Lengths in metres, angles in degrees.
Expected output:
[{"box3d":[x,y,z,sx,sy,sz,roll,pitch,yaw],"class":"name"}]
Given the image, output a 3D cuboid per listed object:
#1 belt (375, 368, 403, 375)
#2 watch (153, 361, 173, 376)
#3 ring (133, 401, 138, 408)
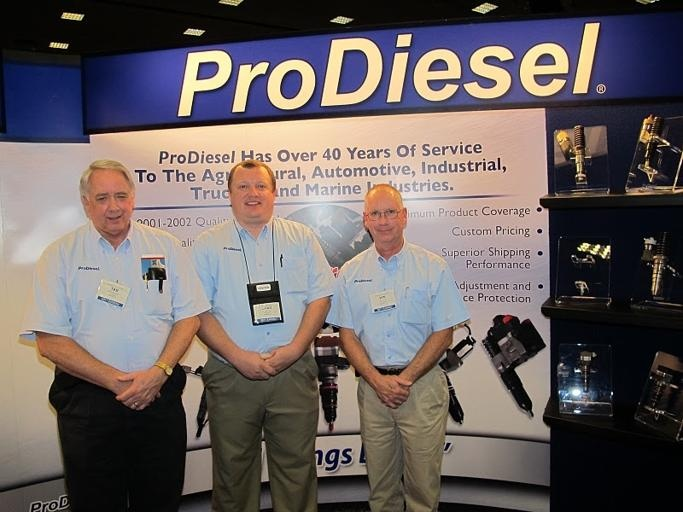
[{"box3d":[0.290,0.691,3.284,0.151,0.034,0.044,1,6,14],"class":"belt"},{"box3d":[-0.977,0.616,3.015,0.059,0.087,0.089,-42,-1,-24],"class":"watch"},{"box3d":[-1.114,0.802,2.956,0.021,0.032,0.008,8,-9,-6],"class":"ring"}]
